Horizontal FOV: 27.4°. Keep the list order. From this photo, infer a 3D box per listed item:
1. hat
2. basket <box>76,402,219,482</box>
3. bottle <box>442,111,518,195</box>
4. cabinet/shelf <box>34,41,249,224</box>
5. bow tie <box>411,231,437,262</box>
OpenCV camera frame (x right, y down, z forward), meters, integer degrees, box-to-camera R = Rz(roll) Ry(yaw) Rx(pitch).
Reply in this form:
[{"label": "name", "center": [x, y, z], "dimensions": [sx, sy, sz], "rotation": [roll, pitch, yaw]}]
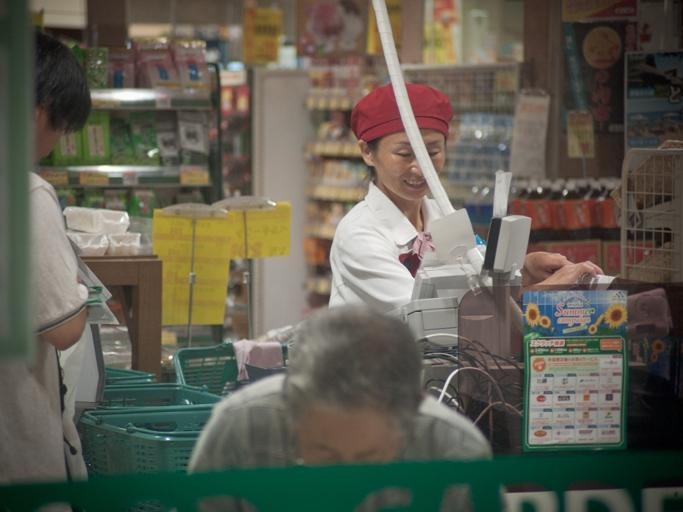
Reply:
[{"label": "hat", "center": [0.220, -0.567, 5.347], "dimensions": [0.487, 0.198, 0.399], "rotation": [-7, 4, 4]}, {"label": "basket", "center": [-0.765, 0.685, 5.098], "dimensions": [0.469, 0.192, 0.337], "rotation": [-2, -22, -33]}, {"label": "bottle", "center": [0.762, -0.629, 7.850], "dimensions": [0.388, 0.734, 0.395], "rotation": [-1, 27, 0]}, {"label": "cabinet/shelf", "center": [-0.963, -0.578, 6.594], "dimensions": [0.926, 0.929, 0.359], "rotation": [-4, 6, -26]}, {"label": "bow tie", "center": [0.299, -0.039, 5.194], "dimensions": [0.079, 0.094, 0.037], "rotation": [5, -21, 7]}]
